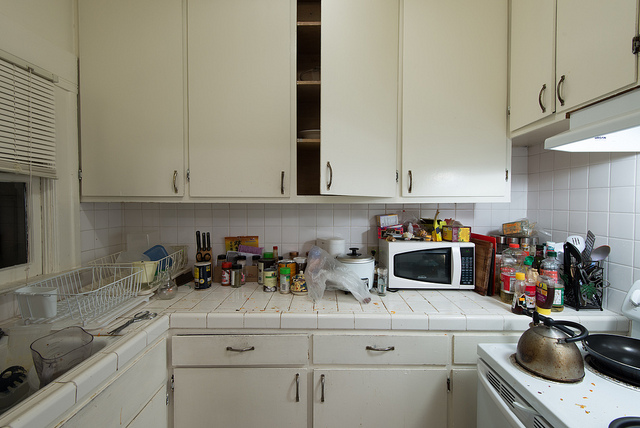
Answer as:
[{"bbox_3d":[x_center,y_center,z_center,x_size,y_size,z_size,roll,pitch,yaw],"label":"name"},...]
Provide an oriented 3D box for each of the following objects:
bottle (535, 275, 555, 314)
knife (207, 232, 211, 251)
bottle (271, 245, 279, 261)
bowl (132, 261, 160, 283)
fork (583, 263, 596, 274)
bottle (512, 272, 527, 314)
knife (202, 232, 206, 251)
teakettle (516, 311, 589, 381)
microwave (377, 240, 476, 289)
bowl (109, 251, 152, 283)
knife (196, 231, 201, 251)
[{"bbox_3d":[1.321,0.482,2.582,0.103,0.215,0.059,-1,4,28],"label":"bottle"},{"bbox_3d":[-0.808,0.203,3.153,0.019,0.123,0.052,-3,4,-14],"label":"knife"},{"bbox_3d":[-0.326,0.275,3.143,0.055,0.080,0.099,-3,3,-6],"label":"bottle"},{"bbox_3d":[-1.102,0.358,2.749,0.130,0.122,0.145,0,4,-7],"label":"bowl"},{"bbox_3d":[1.593,0.328,2.603,0.038,0.019,0.055,-11,27,47],"label":"fork"},{"bbox_3d":[1.185,0.476,2.611,0.079,0.230,0.184,-1,4,24],"label":"bottle"},{"bbox_3d":[-0.836,0.207,3.148,0.023,0.115,0.039,-3,4,-14],"label":"knife"},{"bbox_3d":[1.249,0.702,2.421,0.325,0.304,0.482,10,1,18],"label":"teakettle"},{"bbox_3d":[0.713,0.423,3.039,0.603,0.318,0.460,2,-20,-9],"label":"microwave"},{"bbox_3d":[-1.240,0.368,2.915,0.274,0.098,0.205,-10,-4,-3],"label":"bowl"},{"bbox_3d":[-0.876,0.200,3.140,0.028,0.138,0.049,-4,4,-17],"label":"knife"}]
